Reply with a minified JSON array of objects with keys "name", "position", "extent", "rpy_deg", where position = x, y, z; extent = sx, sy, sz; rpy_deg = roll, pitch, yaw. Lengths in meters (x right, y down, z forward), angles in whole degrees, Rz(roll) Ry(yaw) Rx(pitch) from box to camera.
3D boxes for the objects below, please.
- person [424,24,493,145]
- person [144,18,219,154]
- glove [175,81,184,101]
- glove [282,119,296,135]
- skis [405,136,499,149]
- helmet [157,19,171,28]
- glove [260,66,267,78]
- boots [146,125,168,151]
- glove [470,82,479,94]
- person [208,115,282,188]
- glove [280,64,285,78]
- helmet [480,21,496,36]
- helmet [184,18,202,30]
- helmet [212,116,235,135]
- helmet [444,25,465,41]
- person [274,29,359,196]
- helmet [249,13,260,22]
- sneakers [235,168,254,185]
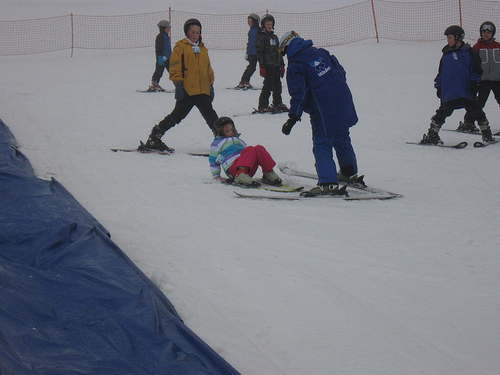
[{"name":"person","position":[3.525,-1.707,15.827],"extent":[1.161,1.931,0.351],"rpy_deg":[-2,12,9]},{"name":"person","position":[-1.318,-1.668,15.619],"extent":[1.140,2.163,0.400],"rpy_deg":[-5,12,-3]},{"name":"glove","position":[-1.338,-1.573,15.454],"extent":[0.222,0.255,0.088],"rpy_deg":[-1,13,-1]},{"name":"glove","position":[0.496,-0.922,14.308],"extent":[0.183,0.257,0.072],"rpy_deg":[29,0,5]},{"name":"skis","position":[3.472,-0.748,15.961],"extent":[1.284,0.129,0.134],"rpy_deg":[5,19,24]},{"name":"helmet","position":[-2.057,-3.392,19.653],"extent":[0.230,0.087,0.151],"rpy_deg":[4,39,4]},{"name":"glove","position":[0.108,-2.141,17.613],"extent":[0.127,0.224,0.309],"rpy_deg":[-4,11,0]},{"name":"boots","position":[-1.694,-0.781,15.813],"extent":[0.486,0.403,0.242],"rpy_deg":[9,2,-1]},{"name":"glove","position":[3.816,-1.647,15.759],"extent":[0.112,0.223,0.195],"rpy_deg":[5,14,37]},{"name":"person","position":[-0.246,-0.589,14.843],"extent":[0.777,0.930,1.374],"rpy_deg":[-11,16,-40]},{"name":"glove","position":[0.482,-2.156,17.603],"extent":[0.087,0.213,0.170],"rpy_deg":[5,-10,10]},{"name":"helmet","position":[4.166,-2.751,16.407],"extent":[0.231,0.240,0.278],"rpy_deg":[4,-18,28]},{"name":"helmet","position":[-1.123,-2.659,15.471],"extent":[0.281,0.191,0.221],"rpy_deg":[-5,11,-7]},{"name":"helmet","position":[-0.571,-0.981,14.979],"extent":[0.288,0.312,0.304],"rpy_deg":[2,30,-14]},{"name":"helmet","position":[3.429,-2.575,15.781],"extent":[0.337,0.235,0.237],"rpy_deg":[-10,19,2]},{"name":"person","position":[0.992,-1.121,14.318],"extent":[1.148,2.452,0.554],"rpy_deg":[-3,12,4]},{"name":"helmet","position":[-0.056,-3.418,19.104],"extent":[0.215,0.148,0.149],"rpy_deg":[-14,29,-1]},{"name":"sneakers","position":[-0.232,-0.175,14.670],"extent":[0.191,0.171,0.342],"rpy_deg":[-22,28,-33]}]
